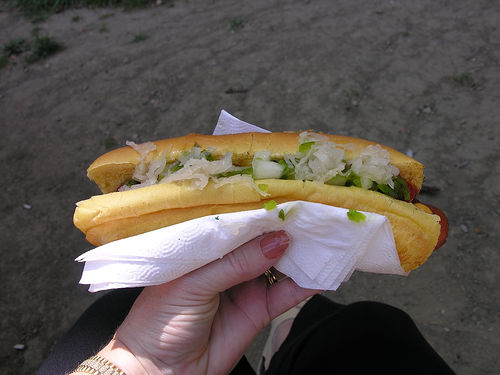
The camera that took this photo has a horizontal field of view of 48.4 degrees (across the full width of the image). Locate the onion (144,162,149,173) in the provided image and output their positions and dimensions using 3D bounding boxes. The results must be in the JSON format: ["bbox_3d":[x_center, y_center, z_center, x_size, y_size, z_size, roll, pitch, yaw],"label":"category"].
[{"bbox_3d":[-1.022,-0.185,5.467,0.055,0.024,0.071,15,105,43],"label":"onion"}]

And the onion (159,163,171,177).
[{"bbox_3d":[-0.826,-0.167,5.434,0.083,0.026,0.099,4,78,31],"label":"onion"}]

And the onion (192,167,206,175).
[{"bbox_3d":[-0.483,-0.157,5.270,0.065,0.019,0.061,6,72,-9],"label":"onion"}]

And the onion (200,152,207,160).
[{"bbox_3d":[-0.460,-0.308,5.426,0.056,0.020,0.069,-4,83,3],"label":"onion"}]

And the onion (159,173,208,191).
[{"bbox_3d":[-0.563,-0.031,5.255,0.272,0.198,0.069,-11,80,13],"label":"onion"}]

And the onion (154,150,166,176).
[{"bbox_3d":[-0.869,-0.237,5.392,0.077,0.037,0.235,14,84,-6],"label":"onion"}]
